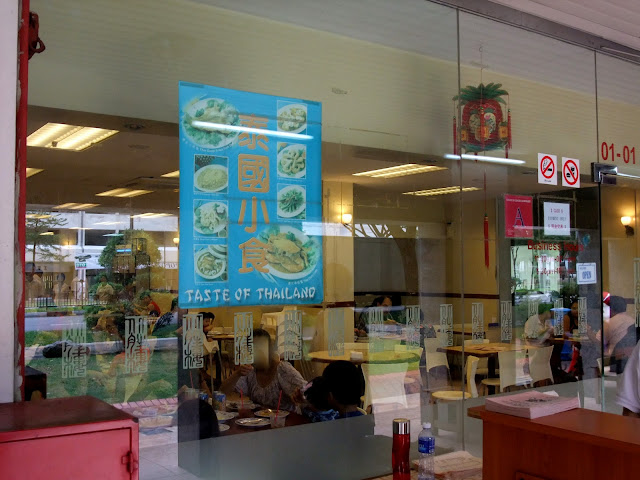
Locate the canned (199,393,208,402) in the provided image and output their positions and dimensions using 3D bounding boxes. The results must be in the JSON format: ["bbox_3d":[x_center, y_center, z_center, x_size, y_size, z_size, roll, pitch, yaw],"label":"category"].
[{"bbox_3d":[-0.778,1.044,3.645,0.054,0.054,0.057,2,-3,0],"label":"canned"}]

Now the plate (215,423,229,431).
[{"bbox_3d":[-0.681,1.277,3.739,0.069,0.014,0.070,5,4,26],"label":"plate"}]

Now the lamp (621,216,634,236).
[{"bbox_3d":[3.522,-0.162,6.242,0.053,0.224,0.328,-6,-6,44],"label":"lamp"}]

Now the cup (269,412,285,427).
[{"bbox_3d":[-0.308,1.299,3.949,0.096,0.080,0.106,2,-1,-1],"label":"cup"}]
